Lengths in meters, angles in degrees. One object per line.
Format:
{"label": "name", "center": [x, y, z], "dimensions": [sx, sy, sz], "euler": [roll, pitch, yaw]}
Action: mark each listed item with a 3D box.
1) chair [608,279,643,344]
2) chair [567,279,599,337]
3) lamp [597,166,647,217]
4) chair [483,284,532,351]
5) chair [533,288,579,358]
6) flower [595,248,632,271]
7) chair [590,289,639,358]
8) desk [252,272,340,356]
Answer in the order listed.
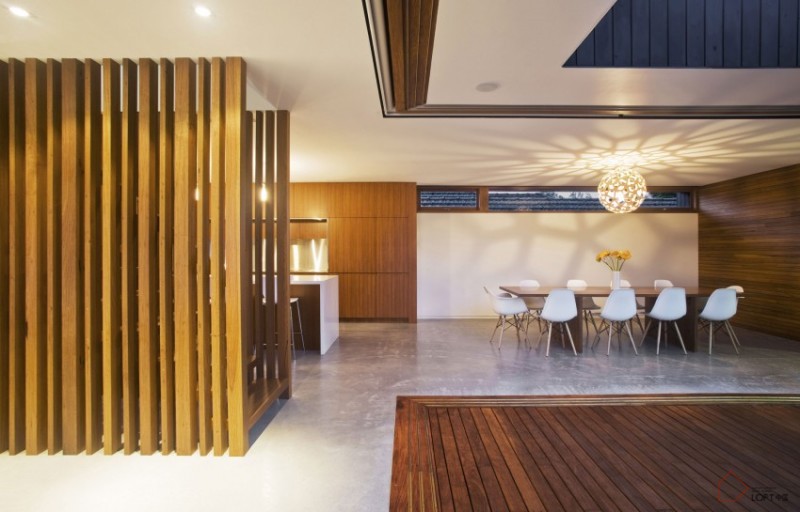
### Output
{"label": "chair", "center": [3.574, 0.948, 8.697], "dimensions": [0.423, 0.574, 0.356], "euler": [-18, -8, 20]}
{"label": "chair", "center": [3.050, 0.907, 9.153], "dimensions": [0.379, 0.606, 0.437], "euler": [-14, -11, 26]}
{"label": "lamp", "center": [3.123, -0.934, 8.248], "dimensions": [0.751, 0.802, 0.799], "euler": [-1, 4, 0]}
{"label": "chair", "center": [1.629, 0.892, 8.525], "dimensions": [0.676, 0.835, 0.671], "euler": [-2, 1, -2]}
{"label": "chair", "center": [2.273, 0.897, 8.119], "dimensions": [0.571, 0.953, 0.616], "euler": [-3, 13, 1]}
{"label": "flower", "center": [3.702, 0.042, 9.802], "dimensions": [0.413, 0.468, 0.388], "euler": [-1, -2, -18]}
{"label": "chair", "center": [3.122, 0.907, 8.018], "dimensions": [0.484, 0.834, 0.560], "euler": [-2, -4, 15]}
{"label": "desk", "center": [-1.486, 0.854, 8.534], "dimensions": [0.926, 1.224, 1.661], "euler": [0, -2, -1]}
